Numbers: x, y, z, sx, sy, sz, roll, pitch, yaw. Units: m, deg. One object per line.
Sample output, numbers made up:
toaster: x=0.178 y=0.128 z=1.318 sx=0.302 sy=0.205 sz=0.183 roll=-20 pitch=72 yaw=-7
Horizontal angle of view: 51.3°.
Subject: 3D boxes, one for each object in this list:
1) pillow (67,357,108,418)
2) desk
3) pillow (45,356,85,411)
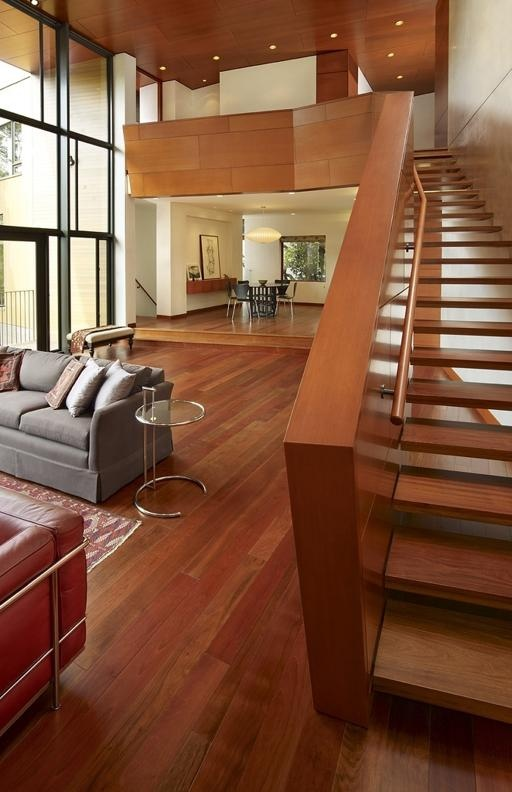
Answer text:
pillow: x=-1.256 y=-0.040 z=4.024 sx=0.102 sy=0.368 sz=0.359 roll=24 pitch=-6 yaw=-29
desk: x=-0.598 y=0.317 z=3.710 sx=0.471 sy=0.890 sz=0.453 roll=-10 pitch=23 yaw=-31
pillow: x=-1.511 y=-0.093 z=4.216 sx=0.084 sy=0.372 sz=0.367 roll=26 pitch=-8 yaw=-24
